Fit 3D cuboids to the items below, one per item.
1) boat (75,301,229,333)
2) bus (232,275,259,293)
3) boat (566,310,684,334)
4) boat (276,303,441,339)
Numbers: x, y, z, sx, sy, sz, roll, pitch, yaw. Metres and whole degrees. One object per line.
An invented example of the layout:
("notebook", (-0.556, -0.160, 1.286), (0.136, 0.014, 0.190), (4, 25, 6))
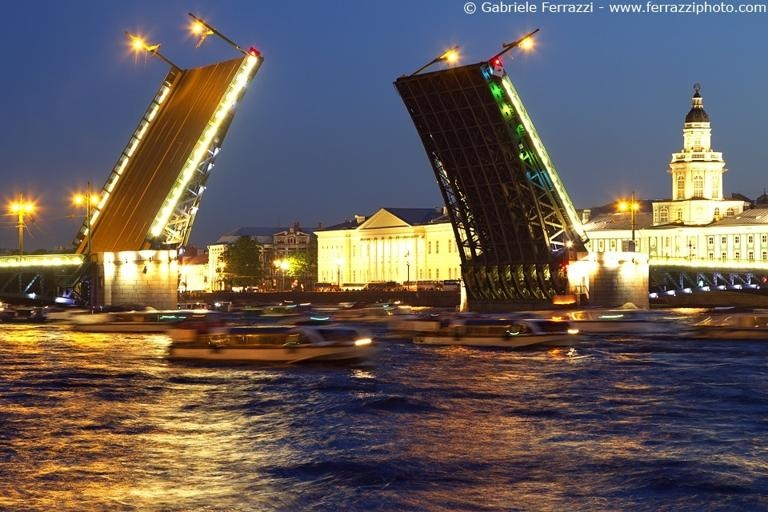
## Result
("boat", (-11.806, 3.040, 37.348), (5.113, 0.860, 2.380), (-2, -2, 11))
("bus", (-17.329, 3.437, 101.017), (4.031, 1.676, 4.057), (-2, -1, 5))
("boat", (10.993, 2.841, 35.001), (3.695, 1.036, 7.274), (-4, -6, 32))
("boat", (0.710, 3.744, 43.625), (10.112, 1.734, 2.027), (-1, -2, 16))
